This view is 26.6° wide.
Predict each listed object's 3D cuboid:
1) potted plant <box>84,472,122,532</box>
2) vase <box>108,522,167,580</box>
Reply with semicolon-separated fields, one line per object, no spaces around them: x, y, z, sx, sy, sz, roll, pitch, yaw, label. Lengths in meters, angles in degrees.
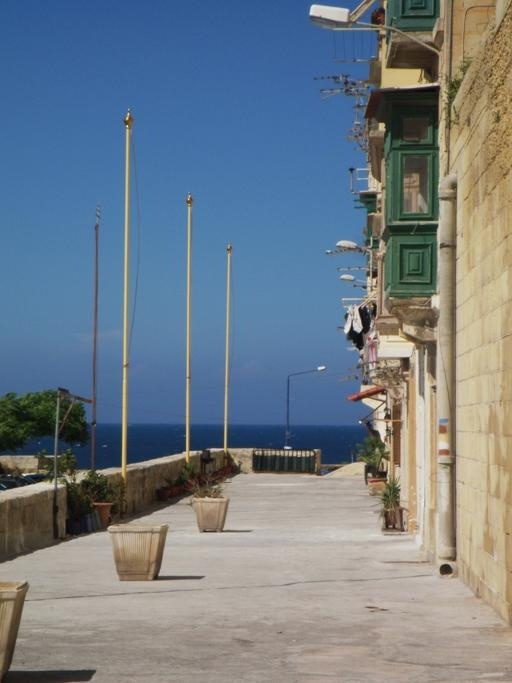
-3.139;3.193;21.899;0.910;1.497;0.975;1;-14;-12;potted plant
-1.412;2.531;12.990;0.656;0.687;0.705;0;-5;-7;vase
